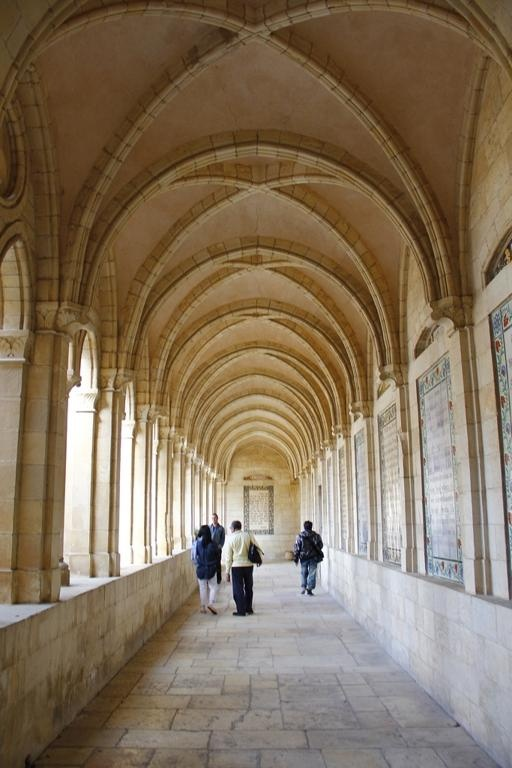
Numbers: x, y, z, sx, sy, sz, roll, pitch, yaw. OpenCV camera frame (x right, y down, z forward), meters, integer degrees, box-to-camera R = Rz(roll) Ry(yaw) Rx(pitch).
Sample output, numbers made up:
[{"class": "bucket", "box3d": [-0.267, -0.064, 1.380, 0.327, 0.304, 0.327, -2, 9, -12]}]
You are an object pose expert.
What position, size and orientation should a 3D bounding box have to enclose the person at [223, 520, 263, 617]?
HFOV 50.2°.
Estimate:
[{"class": "person", "box3d": [-0.245, 3.085, 9.263, 0.555, 1.479, 1.460, 0, -15, -2]}]
